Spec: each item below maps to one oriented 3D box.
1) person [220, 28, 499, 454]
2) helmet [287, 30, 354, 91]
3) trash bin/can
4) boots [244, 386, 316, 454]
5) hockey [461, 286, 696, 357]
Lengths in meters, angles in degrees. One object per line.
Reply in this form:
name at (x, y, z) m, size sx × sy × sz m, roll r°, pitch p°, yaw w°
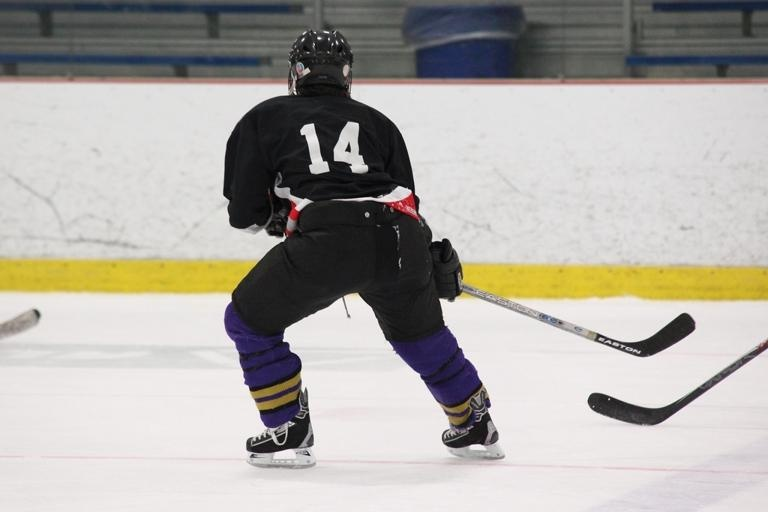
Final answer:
person at (-0.165, 0.131, 5.818) m, size 1.310 × 1.848 × 0.357 m, roll 2°, pitch 10°, yaw -8°
helmet at (-0.366, -1.014, 5.931) m, size 0.316 × 0.295 × 0.362 m, roll 1°, pitch 9°, yaw -6°
trash bin/can at (0.635, -1.595, 8.855) m, size 0.788 × 0.355 × 0.691 m, roll 0°, pitch 4°, yaw -11°
boots at (-0.541, 0.895, 5.875) m, size 0.445 × 0.284 × 0.137 m, roll -11°, pitch -6°, yaw 21°
hockey at (1.085, 0.299, 6.735) m, size 1.820 × 0.487 × 0.130 m, roll 5°, pitch -27°, yaw 49°
